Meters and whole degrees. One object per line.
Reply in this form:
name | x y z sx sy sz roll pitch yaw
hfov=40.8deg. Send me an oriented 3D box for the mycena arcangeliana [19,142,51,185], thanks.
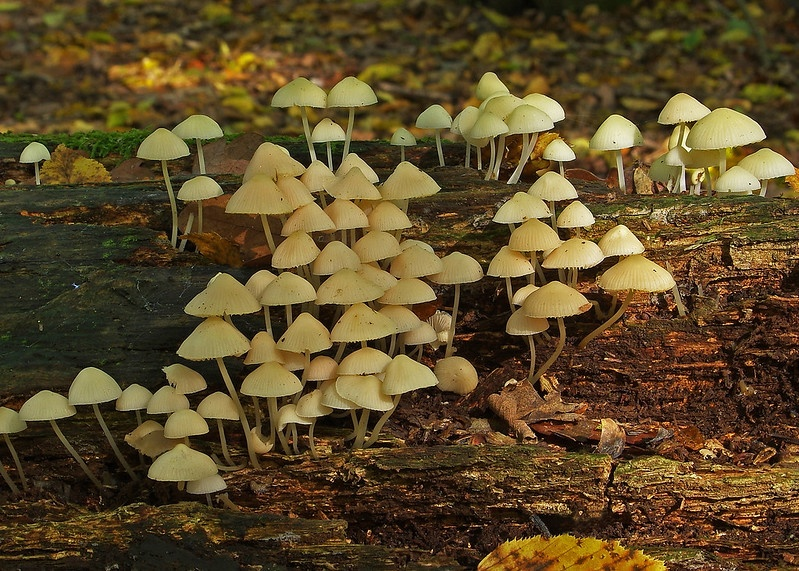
mycena arcangeliana | -4.330 -1.455 12.778 0.375 0.502 0.725 -11 18 -16
